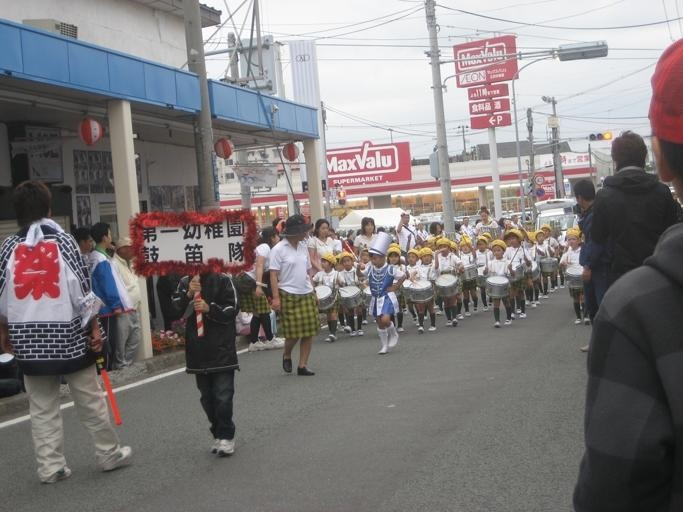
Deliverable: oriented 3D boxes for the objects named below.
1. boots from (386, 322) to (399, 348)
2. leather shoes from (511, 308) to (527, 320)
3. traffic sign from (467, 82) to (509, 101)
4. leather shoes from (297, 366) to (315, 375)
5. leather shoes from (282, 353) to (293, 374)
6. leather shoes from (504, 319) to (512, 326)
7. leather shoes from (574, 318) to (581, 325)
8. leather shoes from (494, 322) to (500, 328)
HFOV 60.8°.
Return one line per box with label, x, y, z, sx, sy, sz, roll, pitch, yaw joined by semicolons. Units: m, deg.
boots;0.827;1.363;10.148;0.170;0.337;0.444;-15;19;17
leather shoes;3.963;1.287;12.953;0.193;0.230;0.554;-2;-7;8
traffic sign;7.594;-8.474;30.160;1.374;0.532;1.384;-4;4;-7
leather shoes;-0.526;1.685;8.535;0.230;0.097;0.110;-2;-2;17
leather shoes;-0.810;1.619;8.721;0.112;0.320;0.101;-12;11;-36
leather shoes;3.423;1.365;11.955;0.112;0.101;0.295;-4;1;14
leather shoes;4.632;1.284;11.422;0.074;0.090;0.217;-1;10;8
leather shoes;3.140;1.387;11.697;0.065;0.089;0.199;2;-24;10
